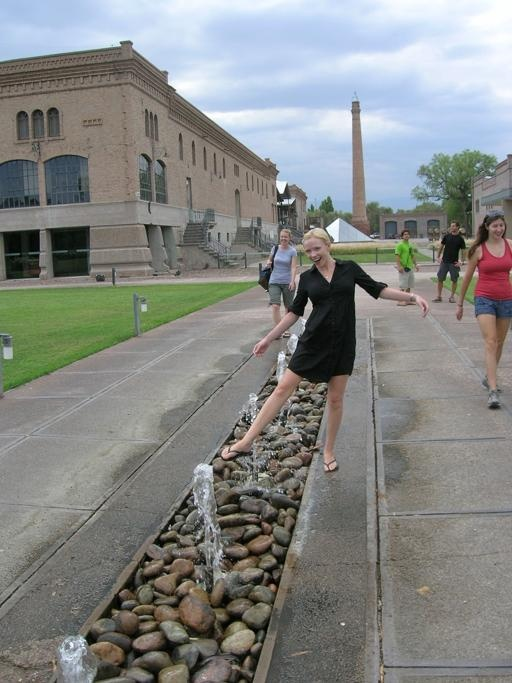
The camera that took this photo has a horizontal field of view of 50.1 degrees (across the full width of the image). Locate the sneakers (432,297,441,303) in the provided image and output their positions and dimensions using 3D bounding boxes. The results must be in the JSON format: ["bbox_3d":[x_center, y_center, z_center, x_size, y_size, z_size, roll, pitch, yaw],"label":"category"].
[{"bbox_3d":[5.014,-1.180,15.308,0.333,0.203,0.116,7,13,37],"label":"sneakers"}]

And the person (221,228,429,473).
[{"bbox_3d":[0.521,0.115,3.990,1.435,1.357,0.606,-8,4,14],"label":"person"}]

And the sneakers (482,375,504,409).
[{"bbox_3d":[2.470,0.567,5.815,0.182,0.202,0.509,-2,15,13],"label":"sneakers"}]

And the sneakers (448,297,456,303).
[{"bbox_3d":[5.457,-1.160,15.232,0.122,0.120,0.309,-1,1,9],"label":"sneakers"}]
